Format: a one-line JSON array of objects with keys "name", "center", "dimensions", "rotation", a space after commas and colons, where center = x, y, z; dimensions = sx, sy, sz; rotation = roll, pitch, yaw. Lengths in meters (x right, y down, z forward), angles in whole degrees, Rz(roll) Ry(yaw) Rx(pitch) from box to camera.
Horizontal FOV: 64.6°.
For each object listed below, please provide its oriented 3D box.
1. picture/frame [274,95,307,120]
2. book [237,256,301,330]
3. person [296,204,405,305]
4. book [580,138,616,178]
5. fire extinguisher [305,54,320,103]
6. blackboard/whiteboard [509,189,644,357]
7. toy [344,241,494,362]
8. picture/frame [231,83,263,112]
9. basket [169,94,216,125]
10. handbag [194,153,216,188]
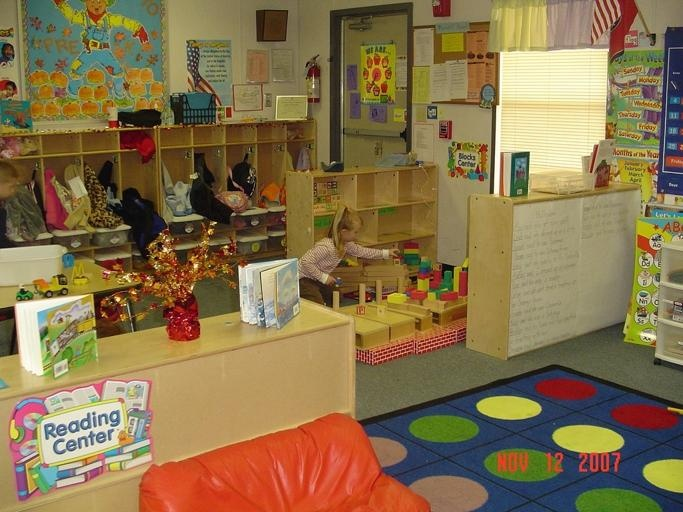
[{"name": "picture/frame", "center": [-0.708, -2.106, 7.643], "dimensions": [0.488, 0.337, 0.063], "rotation": [-4, 14, -18]}, {"name": "book", "center": [-0.339, 0.183, 2.611], "dimensions": [0.180, 0.279, 0.279], "rotation": [12, 16, 43]}, {"name": "person", "center": [0.009, 0.210, 5.763], "dimensions": [1.177, 1.436, 0.559], "rotation": [4, 14, -19]}, {"name": "book", "center": [2.497, -0.949, 5.243], "dimensions": [0.466, 0.435, 0.165], "rotation": [-15, 22, -34]}, {"name": "fire extinguisher", "center": [-0.445, -2.674, 8.146], "dimensions": [0.259, 0.685, 0.121], "rotation": [10, 17, 33]}, {"name": "blackboard/whiteboard", "center": [2.597, 0.188, 5.638], "dimensions": [2.020, 1.668, 0.656], "rotation": [-9, 19, -39]}, {"name": "toy", "center": [0.641, 0.437, 5.106], "dimensions": [0.832, 0.371, 1.170], "rotation": [9, 14, 42]}, {"name": "picture/frame", "center": [-1.391, -2.322, 7.848], "dimensions": [0.483, 0.378, 0.049], "rotation": [-4, 2, -42]}, {"name": "basket", "center": [-1.949, -1.950, 7.102], "dimensions": [0.312, 0.368, 0.555], "rotation": [18, 24, 35]}, {"name": "handbag", "center": [-1.831, -1.127, 7.201], "dimensions": [0.157, 0.416, 0.331], "rotation": [-1, 36, 14]}]
